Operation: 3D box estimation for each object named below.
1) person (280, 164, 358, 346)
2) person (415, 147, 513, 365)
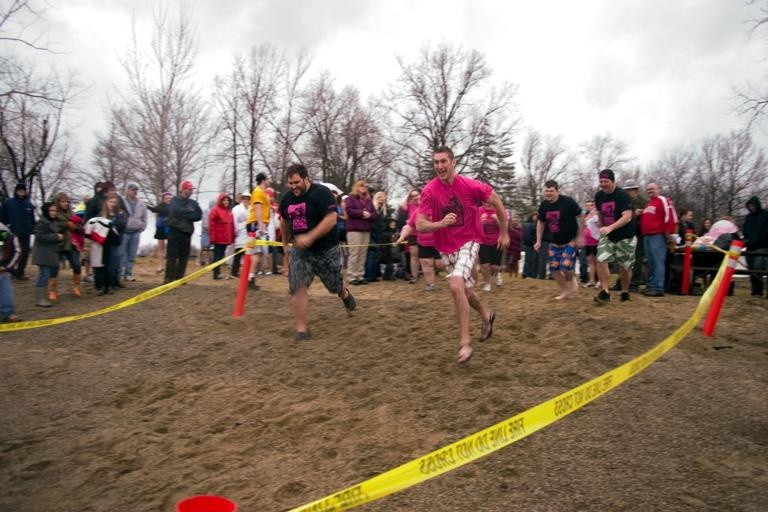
[{"bbox_3d":[-1.055,-0.072,8.763,1.057,2.696,1.282,-5,13,-8],"label":"person"},{"bbox_3d":[1.097,-0.035,7.804,1.246,2.927,1.243,-1,13,9],"label":"person"}]
